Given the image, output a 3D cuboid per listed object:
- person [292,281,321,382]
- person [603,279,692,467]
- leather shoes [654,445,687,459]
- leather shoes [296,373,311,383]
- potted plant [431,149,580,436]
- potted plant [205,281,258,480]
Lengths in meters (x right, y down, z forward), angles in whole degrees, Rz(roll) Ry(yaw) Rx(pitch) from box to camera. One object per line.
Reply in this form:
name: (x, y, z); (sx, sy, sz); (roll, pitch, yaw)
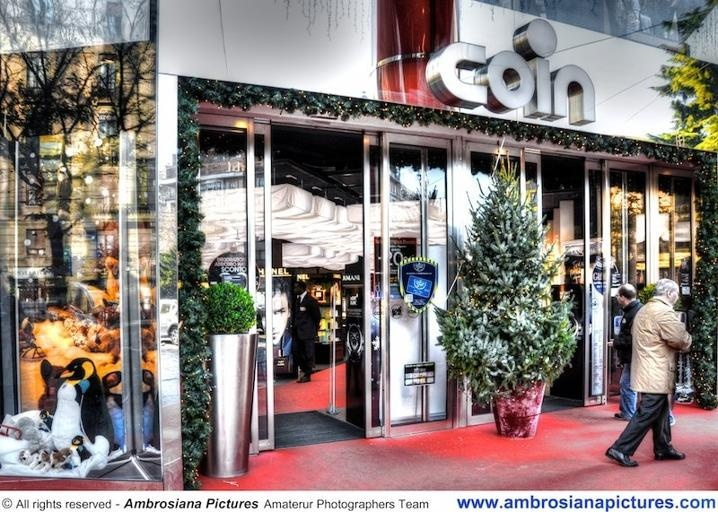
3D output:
person: (-0.987, 1.479, 13.104); (0.492, 1.749, 0.529); (0, 3, -7)
person: (3.430, 1.399, 8.345); (0.839, 2.195, 0.487); (1, 3, 11)
leather shoes: (3.756, 2.409, 8.589); (0.418, 0.187, 0.158); (-2, 1, -14)
leather shoes: (-1.017, 2.294, 13.145); (0.246, 0.115, 0.124); (13, -13, -35)
potted plant: (1.950, 0.653, 9.367); (1.656, 3.566, 0.975); (1, 3, 6)
potted plant: (-1.497, 1.438, 8.196); (0.610, 2.204, 0.349); (-1, 3, -15)
